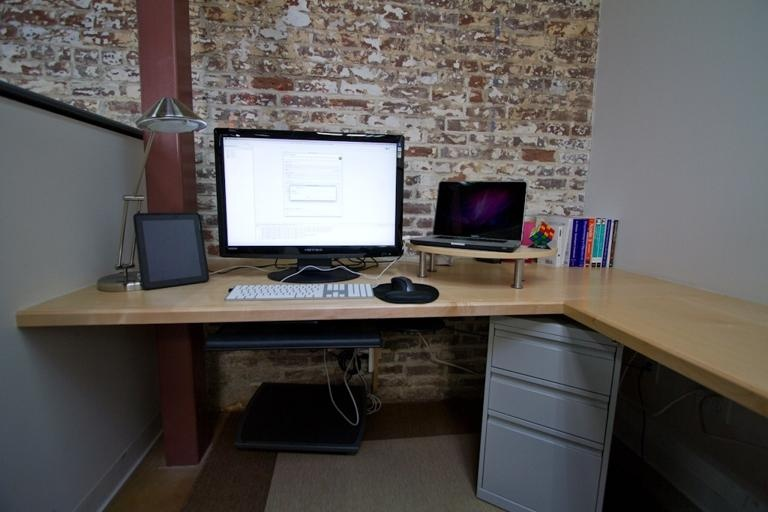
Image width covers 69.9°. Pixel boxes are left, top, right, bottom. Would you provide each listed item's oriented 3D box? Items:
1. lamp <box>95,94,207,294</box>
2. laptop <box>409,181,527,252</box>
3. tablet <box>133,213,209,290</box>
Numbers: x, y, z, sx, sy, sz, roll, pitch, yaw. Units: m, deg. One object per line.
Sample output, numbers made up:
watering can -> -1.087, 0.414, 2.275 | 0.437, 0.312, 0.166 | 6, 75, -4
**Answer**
lamp -> -1.075, -0.266, 2.609 | 0.557, 0.881, 0.385 | -3, -1, -1
laptop -> 0.419, -0.206, 2.696 | 0.486, 0.301, 0.372 | 5, 10, 22
tablet -> -0.998, -0.027, 2.593 | 0.309, 0.345, 0.026 | -6, -3, -38
